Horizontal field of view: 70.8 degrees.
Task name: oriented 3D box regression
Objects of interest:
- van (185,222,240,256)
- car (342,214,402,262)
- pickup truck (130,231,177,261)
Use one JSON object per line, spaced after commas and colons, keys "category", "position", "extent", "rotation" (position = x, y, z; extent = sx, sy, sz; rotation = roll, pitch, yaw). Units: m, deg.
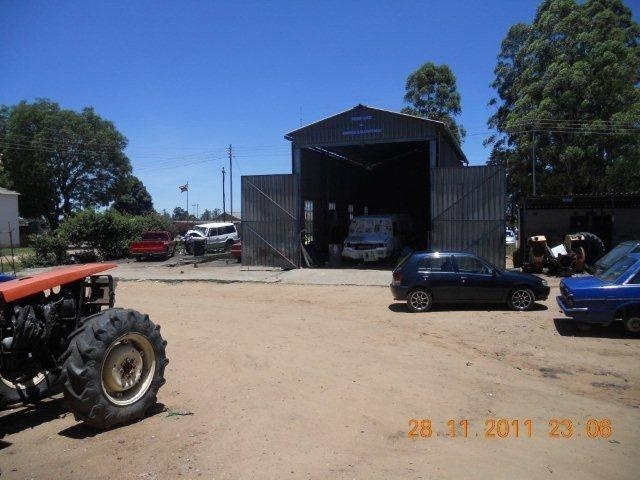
{"category": "van", "position": [-7.938, -0.171, 32.957], "extent": [1.817, 1.961, 3.478], "rotation": [-2, -3, 35]}
{"category": "car", "position": [2.646, 0.026, 23.668], "extent": [2.227, 2.574, 2.994], "rotation": [3, 7, 30]}
{"category": "pickup truck", "position": [-10.919, 0.391, 29.381], "extent": [2.042, 1.735, 2.998], "rotation": [-1, 7, -8]}
